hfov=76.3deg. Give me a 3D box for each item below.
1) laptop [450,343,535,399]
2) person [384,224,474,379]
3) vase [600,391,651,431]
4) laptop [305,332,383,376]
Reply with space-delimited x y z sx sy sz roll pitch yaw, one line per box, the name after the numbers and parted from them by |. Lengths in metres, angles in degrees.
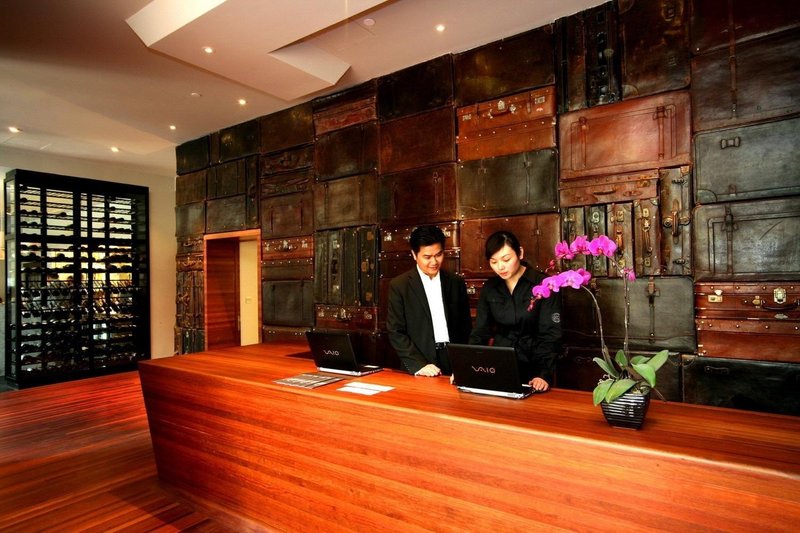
0.677 0.697 3.867 0.571 0.399 0.428 2 14 32 | laptop
0.277 0.337 4.745 0.808 1.394 0.733 -3 -2 0 | person
1.569 0.997 3.501 0.316 0.244 0.383 -7 -21 42 | vase
-0.489 0.765 4.589 0.606 0.341 0.608 4 -6 -37 | laptop
